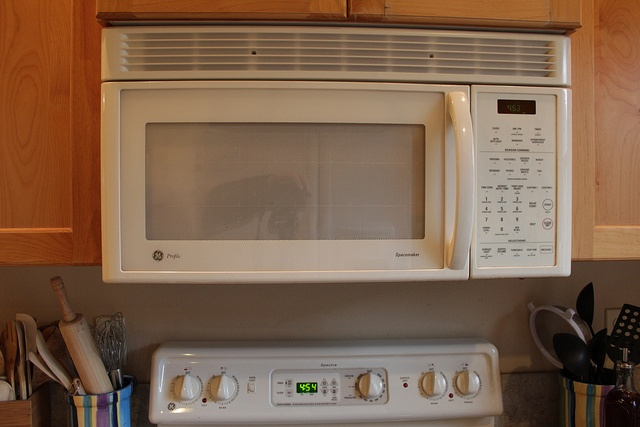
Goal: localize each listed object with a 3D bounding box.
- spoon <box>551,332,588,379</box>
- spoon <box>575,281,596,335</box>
[{"bbox_3d":[0.714,0.406,2.059,0.093,0.135,0.034,0,-4,-7],"label":"spoon"},{"bbox_3d":[0.777,0.276,2.131,0.048,0.147,0.029,-2,-5,13],"label":"spoon"}]
